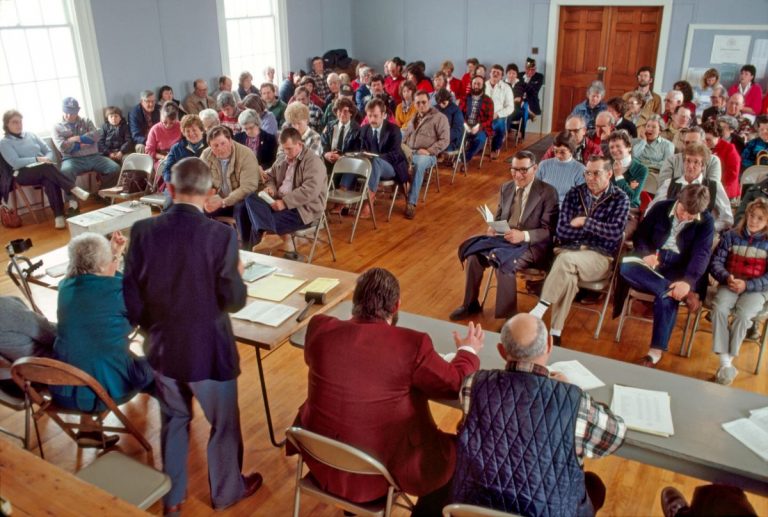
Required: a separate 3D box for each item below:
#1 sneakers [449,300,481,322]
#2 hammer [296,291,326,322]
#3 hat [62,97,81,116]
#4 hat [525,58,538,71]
[{"bbox_3d":[0.730,0.503,5.204,0.343,0.225,0.126,-5,17,-13],"label":"sneakers"},{"bbox_3d":[-0.494,0.302,3.710,0.112,0.078,0.228,18,45,18],"label":"hammer"},{"bbox_3d":[-4.330,-2.120,7.659,0.185,0.250,0.231,6,49,-25],"label":"hat"},{"bbox_3d":[2.959,-3.871,11.035,0.209,0.234,0.312,-1,44,5],"label":"hat"}]
